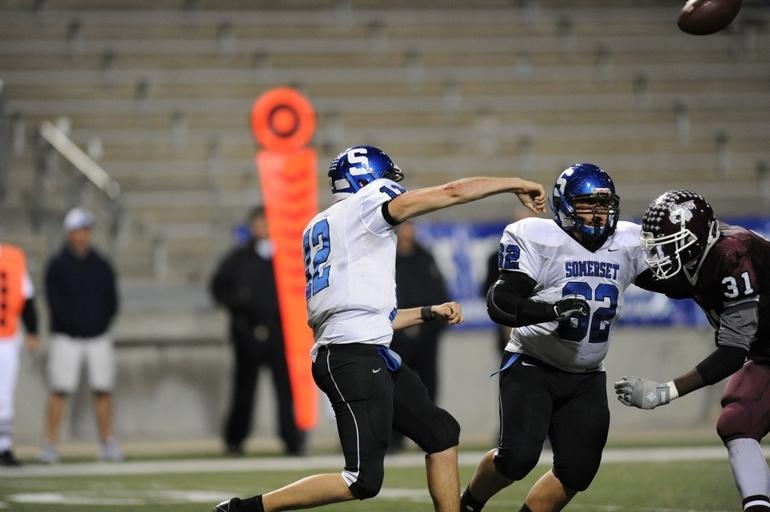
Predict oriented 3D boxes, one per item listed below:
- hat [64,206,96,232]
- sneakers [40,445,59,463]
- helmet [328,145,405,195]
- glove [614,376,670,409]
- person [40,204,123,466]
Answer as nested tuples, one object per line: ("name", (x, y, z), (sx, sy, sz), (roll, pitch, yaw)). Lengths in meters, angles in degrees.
("hat", (-2.937, -0.352, 16.490), (0.271, 0.249, 0.129), (0, -4, -11))
("sneakers", (-3.106, 1.849, 15.977), (0.171, 0.163, 0.135), (0, -4, -14))
("helmet", (-0.142, -0.693, 14.713), (0.672, 0.507, 0.491), (1, 1, -22))
("glove", (2.146, 1.133, 14.139), (0.388, 0.122, 0.255), (-14, 22, -12))
("person", (-2.909, 0.733, 16.445), (0.717, 2.421, 0.806), (-1, -4, -9))
